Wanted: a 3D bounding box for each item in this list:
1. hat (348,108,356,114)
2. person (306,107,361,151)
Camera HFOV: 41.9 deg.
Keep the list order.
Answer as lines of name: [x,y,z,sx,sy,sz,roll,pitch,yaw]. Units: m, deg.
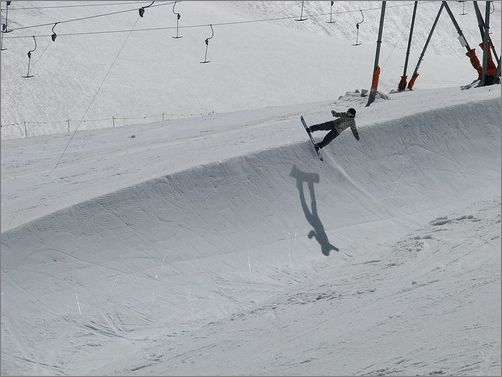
hat: [2.740,-2.111,17.836,0.192,0.201,0.336,1,25,15]
person: [2.252,-1.605,17.986,1.281,1.181,1.224,-3,25,5]
